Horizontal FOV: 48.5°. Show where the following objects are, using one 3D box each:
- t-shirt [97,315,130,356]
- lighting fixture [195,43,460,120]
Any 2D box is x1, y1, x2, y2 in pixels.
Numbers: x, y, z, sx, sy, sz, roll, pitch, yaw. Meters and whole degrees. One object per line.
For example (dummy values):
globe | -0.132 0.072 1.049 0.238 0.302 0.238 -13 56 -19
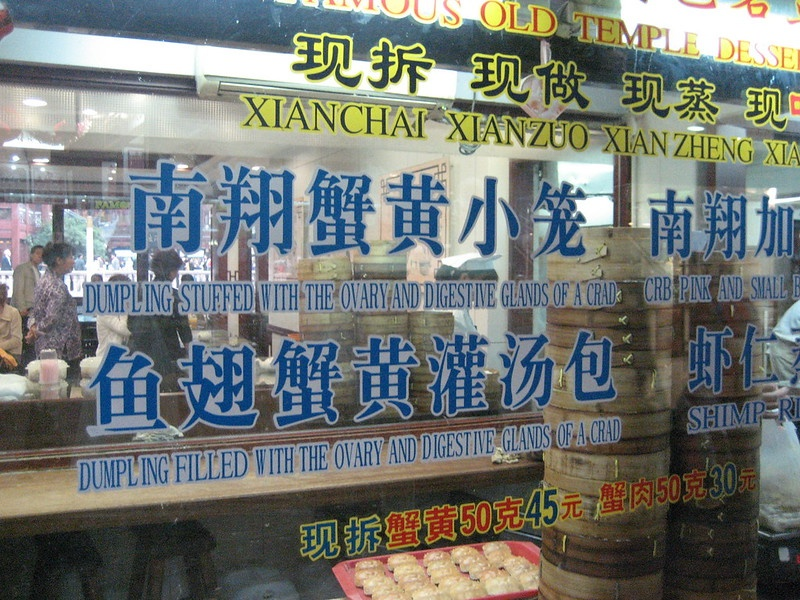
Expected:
t-shirt | -0.853 0.094 2.627 0.101 0.150 0.104 -9 6 -17
lighting fixture | -0.226 -0.699 2.785 0.828 0.178 0.034 -3 1 -15
